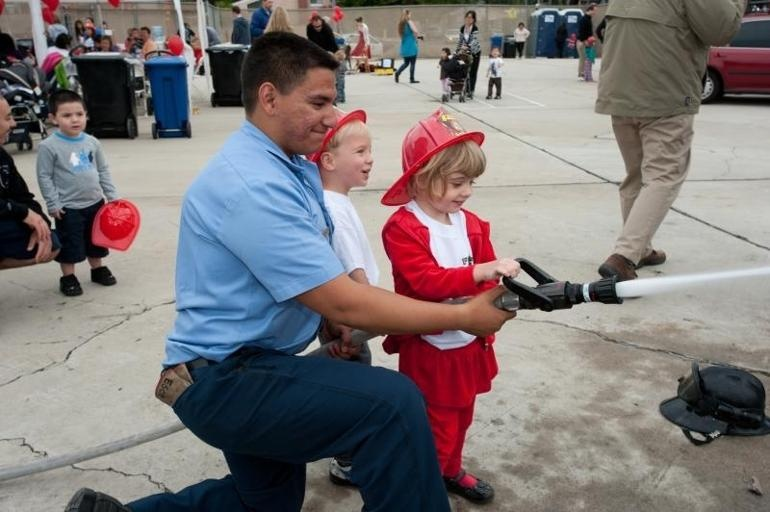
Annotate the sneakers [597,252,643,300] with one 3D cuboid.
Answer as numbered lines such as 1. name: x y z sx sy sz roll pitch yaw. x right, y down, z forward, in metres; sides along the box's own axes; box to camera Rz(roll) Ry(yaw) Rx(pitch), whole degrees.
1. sneakers: 1.678 0.089 4.494 0.206 0.167 0.278 13 23 36

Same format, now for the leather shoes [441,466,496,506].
1. leather shoes: 0.408 1.101 2.969 0.261 0.086 0.120 7 26 17

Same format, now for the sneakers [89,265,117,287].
1. sneakers: -2.176 0.163 4.793 0.299 0.117 0.100 4 14 41

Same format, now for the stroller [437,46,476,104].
1. stroller: 1.524 -3.763 12.856 0.704 0.941 0.608 -20 21 -40

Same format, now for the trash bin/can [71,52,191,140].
1. trash bin/can: -4.063 -2.611 9.987 1.885 1.257 1.164 -5 22 -18

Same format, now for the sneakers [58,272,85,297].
1. sneakers: -2.315 0.227 4.609 0.106 0.096 0.242 -10 14 -34

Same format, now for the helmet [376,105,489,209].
1. helmet: 0.231 -0.543 2.986 0.429 0.225 0.570 -22 -8 -44
